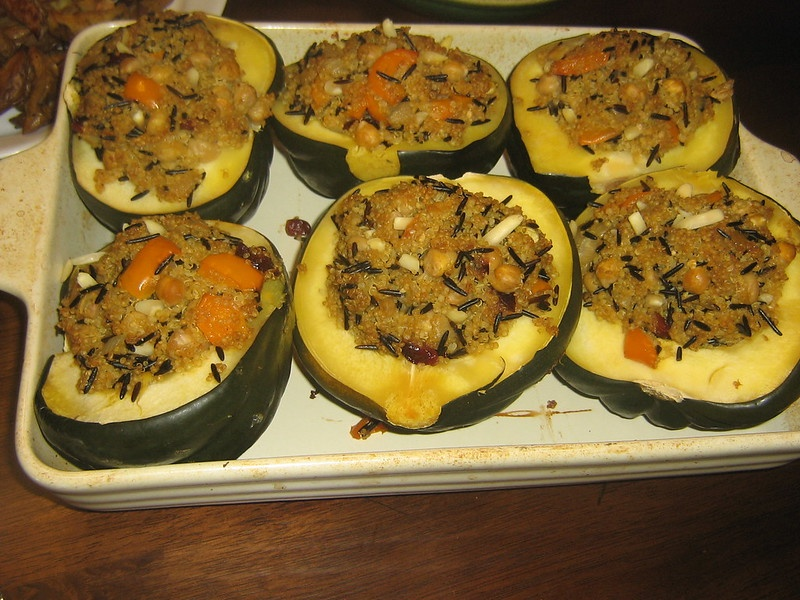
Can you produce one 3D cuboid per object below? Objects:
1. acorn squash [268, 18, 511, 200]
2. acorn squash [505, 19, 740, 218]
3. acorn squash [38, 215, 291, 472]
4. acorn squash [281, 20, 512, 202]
[{"bbox_3d":[0.006,-0.734,3.028,0.956,0.588,0.614,11,63,14],"label":"acorn squash"},{"bbox_3d":[0.920,-0.793,3.061,0.872,0.875,0.287,0,86,14],"label":"acorn squash"},{"bbox_3d":[-0.795,0.152,2.632,0.756,0.494,0.930,14,66,8],"label":"acorn squash"},{"bbox_3d":[-0.035,-0.652,3.222,1.084,0.709,0.602,0,74,-2],"label":"acorn squash"}]
